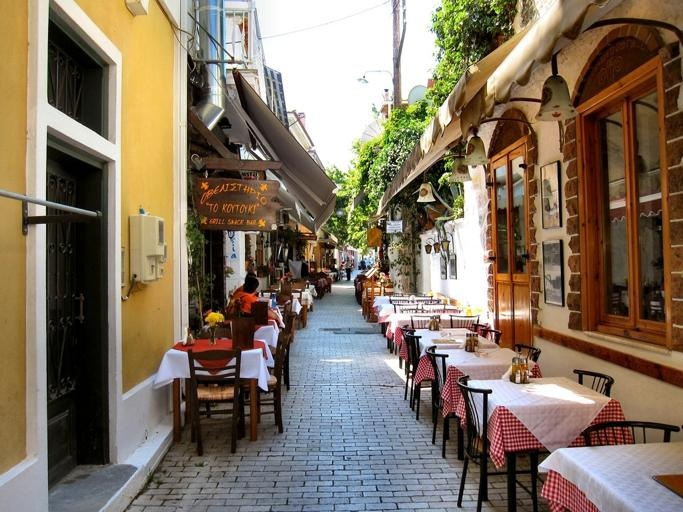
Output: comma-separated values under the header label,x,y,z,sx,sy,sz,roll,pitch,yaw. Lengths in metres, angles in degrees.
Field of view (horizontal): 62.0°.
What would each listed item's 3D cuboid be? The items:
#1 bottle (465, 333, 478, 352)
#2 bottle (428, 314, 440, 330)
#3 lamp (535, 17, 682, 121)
label,x,y,z,sx,sy,sz,roll,pitch,yaw
bottle,1.688,1.108,7.368,0.173,0.363,0.191,-1,-2,0
bottle,1.512,1.077,9.180,0.162,0.226,0.180,0,-1,7
lamp,2.743,-1.857,5.693,1.268,0.744,0.320,0,6,30
